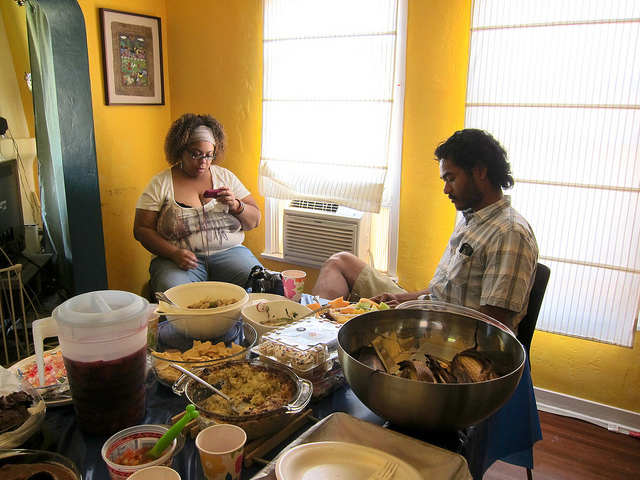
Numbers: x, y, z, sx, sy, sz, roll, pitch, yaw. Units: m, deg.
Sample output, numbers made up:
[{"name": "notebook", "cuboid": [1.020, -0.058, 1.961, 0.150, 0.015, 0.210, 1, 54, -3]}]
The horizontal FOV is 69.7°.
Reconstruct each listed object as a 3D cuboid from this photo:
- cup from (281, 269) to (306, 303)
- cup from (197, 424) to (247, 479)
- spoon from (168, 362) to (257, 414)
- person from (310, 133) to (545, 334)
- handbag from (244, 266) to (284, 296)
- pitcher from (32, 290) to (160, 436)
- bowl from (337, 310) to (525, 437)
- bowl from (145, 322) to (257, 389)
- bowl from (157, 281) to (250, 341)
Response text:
[{"name": "cup", "cuboid": [-0.105, 0.215, 2.071, 0.115, 0.132, 0.123, 1, -1, 0]}, {"name": "cup", "cuboid": [-0.239, 0.507, 1.116, 0.120, 0.105, 0.128, 0, -1, 0]}, {"name": "spoon", "cuboid": [-0.290, 0.417, 1.296, 0.245, 0.034, 0.048, 27, 30, 18]}, {"name": "person", "cuboid": [0.617, -0.070, 2.518, 1.162, 1.342, 0.807, 7, 20, 7]}, {"name": "handbag", "cuboid": [-0.258, 0.200, 2.199, 0.130, 0.120, 0.180, -1, 9, -39]}, {"name": "pitcher", "cuboid": [-0.606, 0.345, 1.299, 0.211, 0.384, 0.169, 9, 17, 18]}, {"name": "bowl", "cuboid": [0.314, 0.351, 1.314, 0.393, 0.176, 0.393, 3, 16, -1]}, {"name": "bowl", "cuboid": [-0.416, 0.374, 1.536, 0.231, 0.088, 0.231, 2, 12, -1]}, {"name": "bowl", "cuboid": [-0.442, 0.305, 1.751, 0.276, 0.117, 0.293, 4, 4, 0]}]
